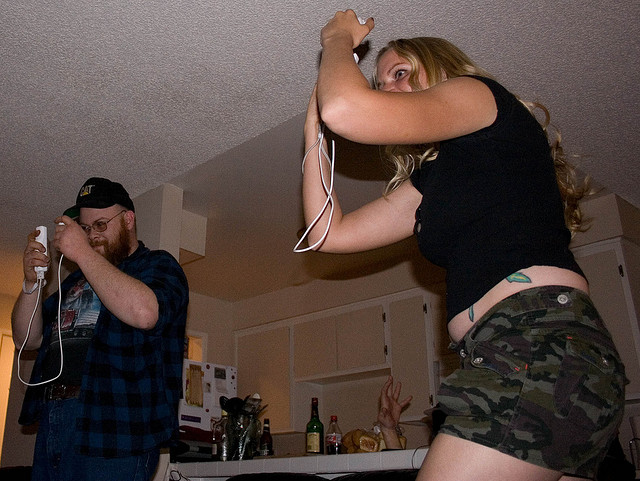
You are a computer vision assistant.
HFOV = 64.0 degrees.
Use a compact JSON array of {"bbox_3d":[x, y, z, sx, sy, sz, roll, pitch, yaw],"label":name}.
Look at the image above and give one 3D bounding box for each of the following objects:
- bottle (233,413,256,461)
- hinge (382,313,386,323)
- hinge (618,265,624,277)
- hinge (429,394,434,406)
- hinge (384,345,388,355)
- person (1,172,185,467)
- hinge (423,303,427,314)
[{"bbox_3d":[-0.414,1.064,2.778,0.109,0.228,0.100,0,-20,0],"label":"bottle"},{"bbox_3d":[0.580,0.703,4.645,0.014,0.052,0.056,2,6,-14],"label":"hinge"},{"bbox_3d":[2.106,0.216,3.589,0.009,0.078,0.029,17,-26,-37],"label":"hinge"},{"bbox_3d":[0.903,1.292,4.140,0.018,0.082,0.041,11,-23,-27],"label":"hinge"},{"bbox_3d":[0.577,0.980,4.542,0.014,0.049,0.051,3,0,-20],"label":"hinge"},{"bbox_3d":[-0.858,0.238,1.958,0.715,1.171,0.456,-8,-22,22],"label":"person"},{"bbox_3d":[0.903,0.592,4.413,0.004,0.078,0.040,17,-26,-38],"label":"hinge"}]
